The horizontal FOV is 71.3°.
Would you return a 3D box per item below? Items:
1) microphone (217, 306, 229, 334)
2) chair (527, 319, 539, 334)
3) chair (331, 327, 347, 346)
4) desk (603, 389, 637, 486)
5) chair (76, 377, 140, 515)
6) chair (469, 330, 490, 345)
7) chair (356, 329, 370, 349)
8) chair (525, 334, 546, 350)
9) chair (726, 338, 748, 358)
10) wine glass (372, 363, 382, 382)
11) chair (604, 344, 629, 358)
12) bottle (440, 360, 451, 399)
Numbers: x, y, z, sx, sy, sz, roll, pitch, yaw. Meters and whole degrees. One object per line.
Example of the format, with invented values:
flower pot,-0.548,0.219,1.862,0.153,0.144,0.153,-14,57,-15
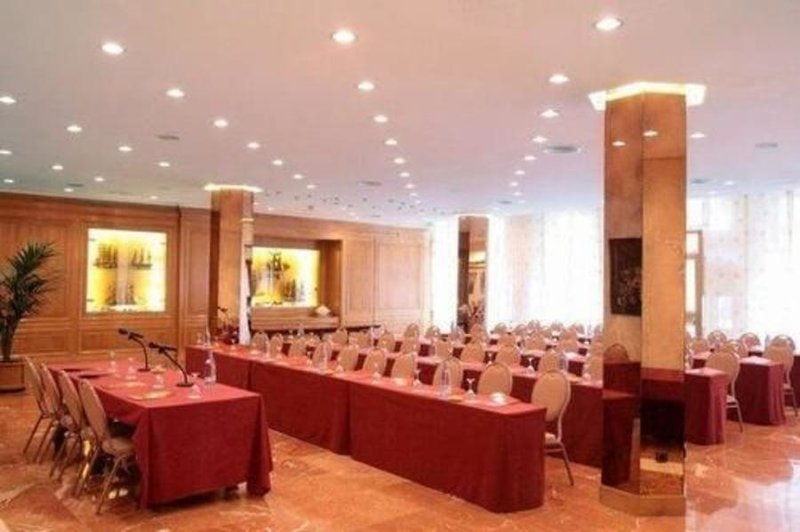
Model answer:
microphone,-3.519,1.063,11.152,0.253,0.496,0.129,4,12,21
chair,3.190,1.447,13.276,0.241,0.301,0.317,-1,-7,9
chair,-1.269,1.490,11.833,0.295,0.369,0.340,0,-9,4
desk,2.365,1.861,6.032,0.359,0.967,0.342,4,12,22
chair,-3.236,1.894,6.082,0.599,1.385,1.245,-6,12,-28
chair,1.625,1.430,11.184,0.289,0.347,0.326,0,-16,2
chair,-0.692,1.479,11.140,0.316,0.457,0.376,0,-5,1
chair,2.540,1.413,10.298,0.291,0.418,0.338,-1,-17,25
chair,5.936,1.450,9.796,0.290,0.395,0.392,1,-8,-21
wine glass,-0.298,1.492,7.967,0.169,0.198,0.168,1,-9,-2
chair,2.387,0.910,6.138,0.161,0.182,0.207,11,14,27
bottle,0.509,1.242,6.173,0.106,0.384,0.289,1,11,5
